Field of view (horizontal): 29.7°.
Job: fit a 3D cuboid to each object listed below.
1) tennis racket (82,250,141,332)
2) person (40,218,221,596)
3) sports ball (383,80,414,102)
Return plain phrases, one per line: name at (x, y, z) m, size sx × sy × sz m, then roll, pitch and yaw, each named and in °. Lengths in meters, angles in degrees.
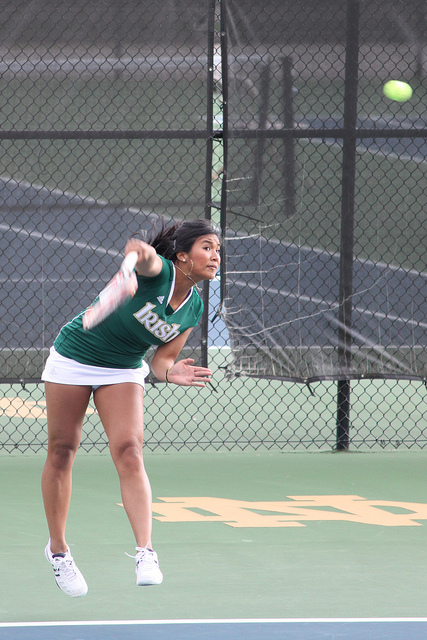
tennis racket at (-0.408, -0.106, 3.237) m, size 0.240 × 0.352 × 0.565 m, roll 0°, pitch 6°, yaw -8°
person at (-0.375, 0.363, 3.528) m, size 0.685 × 1.602 × 0.635 m, roll 5°, pitch 8°, yaw 31°
sports ball at (1.408, -1.747, 6.103) m, size 0.267 × 0.154 × 0.139 m, roll 6°, pitch 26°, yaw 10°
